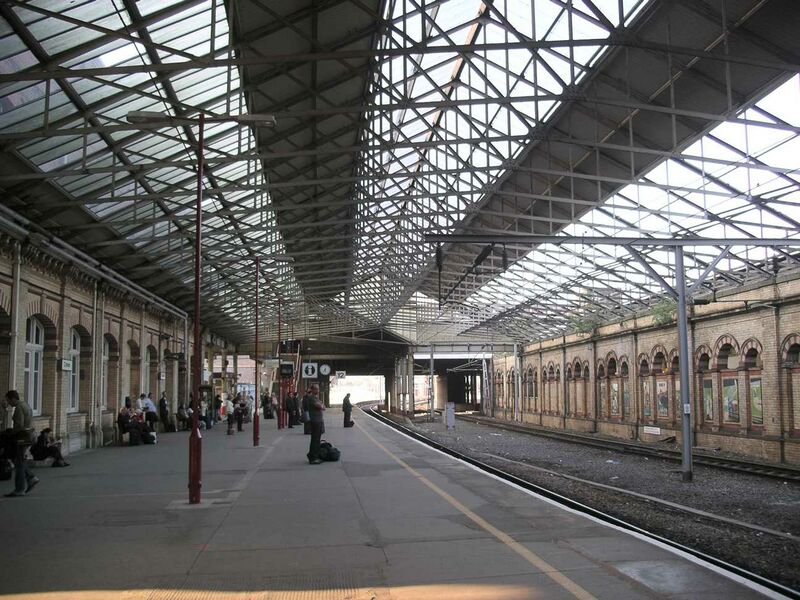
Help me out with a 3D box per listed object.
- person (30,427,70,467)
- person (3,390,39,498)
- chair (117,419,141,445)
[{"bbox_3d":[-10.590,4.328,19.168,0.995,1.035,0.574,11,15,2],"label":"person"},{"bbox_3d":[-8.401,3.173,14.100,0.692,2.252,1.128,4,-11,-30],"label":"person"},{"bbox_3d":[-11.556,5.646,27.201,1.039,1.337,1.100,-1,-10,-2],"label":"chair"}]
